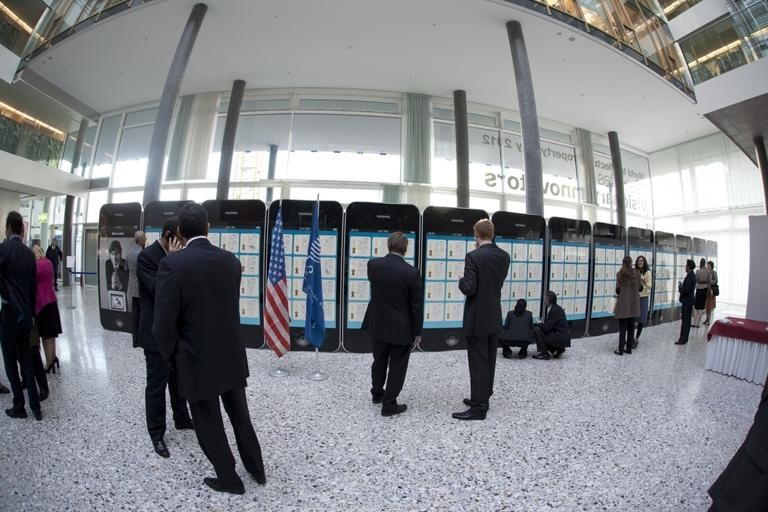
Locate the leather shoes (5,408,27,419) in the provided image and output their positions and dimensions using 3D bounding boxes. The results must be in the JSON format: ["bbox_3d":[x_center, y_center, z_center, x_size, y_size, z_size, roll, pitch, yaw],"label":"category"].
[{"bbox_3d":[-5.652,2.394,6.943,0.350,0.202,0.096,1,0,12],"label":"leather shoes"}]

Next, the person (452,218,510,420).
[{"bbox_3d":[1.566,0.999,7.265,0.803,2.509,0.340,1,0,4],"label":"person"}]

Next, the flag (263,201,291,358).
[{"bbox_3d":[-1.930,0.453,8.210,0.401,2.675,0.351,1,0,-18],"label":"flag"}]

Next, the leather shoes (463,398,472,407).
[{"bbox_3d":[1.383,2.385,7.361,0.073,0.129,0.185,0,18,0],"label":"leather shoes"}]

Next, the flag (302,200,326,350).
[{"bbox_3d":[-1.273,0.348,8.334,0.353,2.538,0.357,1,0,-10],"label":"flag"}]

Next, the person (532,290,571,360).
[{"bbox_3d":[3.478,1.421,9.308,0.685,1.002,0.375,1,0,22],"label":"person"}]

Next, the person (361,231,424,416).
[{"bbox_3d":[0.172,1.086,7.269,0.817,2.518,0.327,1,0,27],"label":"person"}]
